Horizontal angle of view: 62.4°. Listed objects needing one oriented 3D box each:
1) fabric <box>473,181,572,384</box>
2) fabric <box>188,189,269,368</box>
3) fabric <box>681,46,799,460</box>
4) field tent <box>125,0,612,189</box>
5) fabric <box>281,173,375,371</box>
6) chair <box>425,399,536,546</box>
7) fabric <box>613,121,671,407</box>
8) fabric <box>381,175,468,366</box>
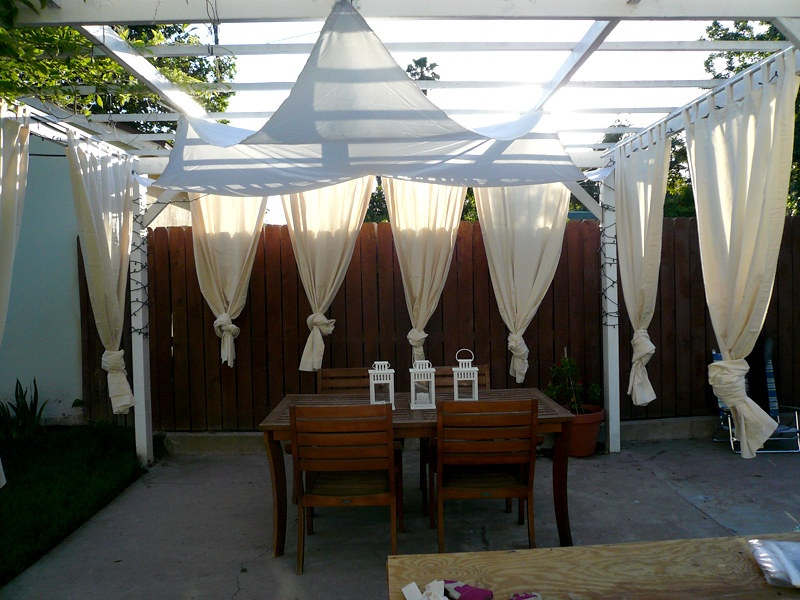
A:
[{"bbox_3d":[1.159,-0.204,6.475,0.896,1.825,0.526,2,12,14],"label":"fabric"},{"bbox_3d":[-1.667,-0.233,6.530,0.712,1.628,0.401,-4,12,-11],"label":"fabric"},{"bbox_3d":[2.483,-0.344,4.978,0.435,2.848,0.970,-4,13,-14],"label":"fabric"},{"bbox_3d":[-0.261,-1.409,4.876,2.984,1.232,1.527,-5,13,-15],"label":"field tent"},{"bbox_3d":[-0.703,-0.288,6.513,0.775,1.812,0.470,-8,14,-29],"label":"fabric"},{"bbox_3d":[0.595,1.186,5.013,0.895,1.433,0.955,-1,4,0],"label":"chair"},{"bbox_3d":[2.217,-0.305,6.117,0.364,2.516,0.741,-1,12,1],"label":"fabric"},{"bbox_3d":[0.243,-0.366,6.435,0.764,1.604,0.435,-2,12,-1],"label":"fabric"}]
